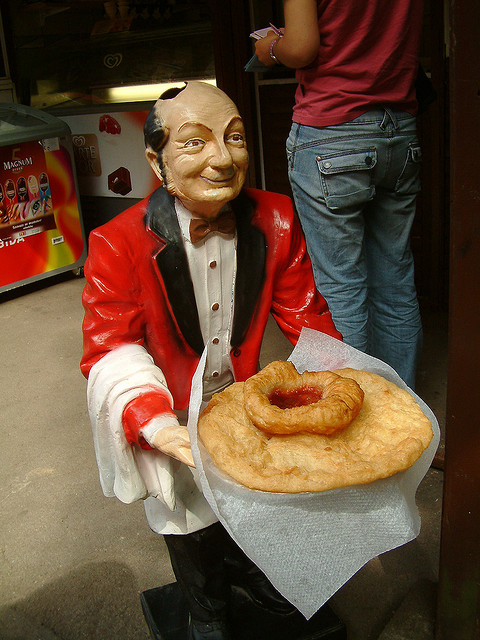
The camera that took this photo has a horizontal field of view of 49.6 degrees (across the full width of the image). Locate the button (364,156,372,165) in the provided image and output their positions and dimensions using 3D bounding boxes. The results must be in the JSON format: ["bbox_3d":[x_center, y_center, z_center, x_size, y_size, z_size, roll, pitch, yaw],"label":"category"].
[{"bbox_3d":[0.430,-0.528,1.725,0.031,0.025,0.005,-20,31,-21],"label":"button"}]

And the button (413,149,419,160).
[{"bbox_3d":[0.632,-0.590,1.854,0.005,0.038,0.042,15,35,36],"label":"button"}]

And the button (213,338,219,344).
[{"bbox_3d":[-0.058,0.050,1.274,0.014,0.013,0.004,0,6,-15],"label":"button"}]

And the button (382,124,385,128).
[{"bbox_3d":[0.478,-0.640,1.718,0.009,0.011,0.001,-23,32,-25],"label":"button"}]

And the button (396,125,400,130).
[{"bbox_3d":[0.536,-0.647,1.744,0.012,0.010,0.003,0,7,-23],"label":"button"}]

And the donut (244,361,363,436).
[{"bbox_3d":[0.105,0.134,0.909,0.217,0.063,0.223,2,22,15],"label":"donut"}]

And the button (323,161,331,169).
[{"bbox_3d":[0.294,-0.514,1.727,0.020,0.019,0.005,0,-5,23],"label":"button"}]

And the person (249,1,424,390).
[{"bbox_3d":[0.467,-0.377,2.022,0.519,1.509,0.368,-24,32,-25],"label":"person"}]

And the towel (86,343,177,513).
[{"bbox_3d":[-0.203,0.239,1.184,0.256,0.334,0.129,-15,-16,28],"label":"towel"}]

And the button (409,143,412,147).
[{"bbox_3d":[0.605,-0.613,1.824,0.004,0.014,0.017,15,35,36],"label":"button"}]
